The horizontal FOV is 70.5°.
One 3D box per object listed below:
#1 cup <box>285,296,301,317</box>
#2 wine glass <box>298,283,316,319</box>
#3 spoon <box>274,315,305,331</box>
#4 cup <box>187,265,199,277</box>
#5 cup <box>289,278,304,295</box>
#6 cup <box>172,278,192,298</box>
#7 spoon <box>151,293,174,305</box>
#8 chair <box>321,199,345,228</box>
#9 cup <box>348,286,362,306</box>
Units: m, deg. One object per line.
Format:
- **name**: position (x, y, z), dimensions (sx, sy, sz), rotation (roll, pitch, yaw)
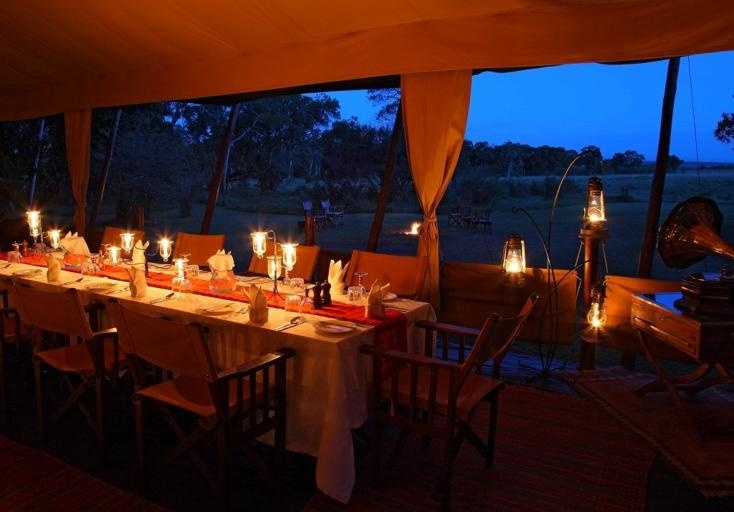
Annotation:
- **cup**: position (-0.559, 0.370, 3.969), dimensions (0.161, 0.159, 0.120), rotation (4, 6, 12)
- **wine glass**: position (-0.458, 0.334, 4.022), dimensions (0.184, 0.336, 0.184), rotation (1, 0, -9)
- **spoon**: position (-0.536, 0.482, 3.694), dimensions (0.065, 0.029, 0.218), rotation (11, 15, 20)
- **cup**: position (-1.444, 0.123, 4.358), dimensions (0.090, 0.090, 0.088), rotation (1, 7, 0)
- **cup**: position (-0.547, 0.247, 4.119), dimensions (0.111, 0.148, 0.124), rotation (0, -3, -9)
- **cup**: position (-1.528, 0.267, 4.315), dimensions (0.138, 0.138, 0.077), rotation (7, 10, 32)
- **spoon**: position (-1.648, 0.337, 4.214), dimensions (0.050, 0.025, 0.213), rotation (11, 17, 19)
- **chair**: position (-0.535, -0.673, 8.370), dimensions (0.310, 0.462, 0.316), rotation (3, 9, 28)
- **cup**: position (-0.099, 0.318, 4.127), dimensions (0.119, 0.122, 0.121), rotation (0, 8, 0)
